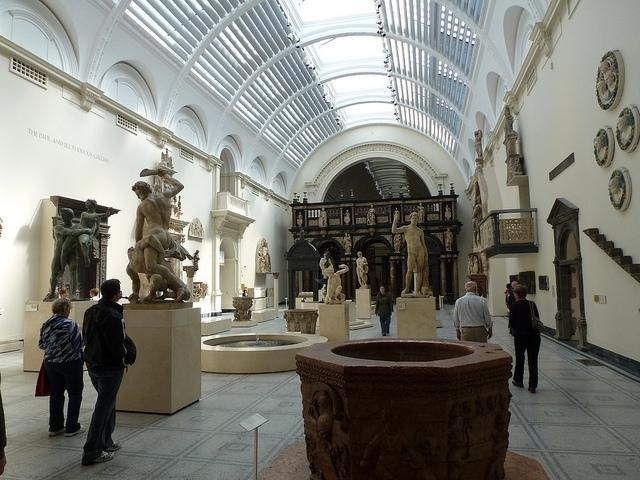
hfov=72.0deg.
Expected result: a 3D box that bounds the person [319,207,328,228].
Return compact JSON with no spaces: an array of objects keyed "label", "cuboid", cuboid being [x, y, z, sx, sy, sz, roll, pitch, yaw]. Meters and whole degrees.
[{"label":"person","cuboid":[0.170,-1.548,30.616,0.575,1.361,0.398,-1,-2,-1]}]

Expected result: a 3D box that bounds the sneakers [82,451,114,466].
[{"label":"sneakers","cuboid":[-2.726,2.665,5.359,0.311,0.162,0.119,4,-1,-29]}]

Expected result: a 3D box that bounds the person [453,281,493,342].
[{"label":"person","cuboid":[2.742,1.299,7.954,0.635,1.084,0.590,-1,-1,20]}]

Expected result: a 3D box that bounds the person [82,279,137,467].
[{"label":"person","cuboid":[-2.723,1.615,5.608,0.621,2.178,0.466,0,-2,-25]}]

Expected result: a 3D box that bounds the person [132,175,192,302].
[{"label":"person","cuboid":[-2.846,-0.078,7.533,0.942,2.601,0.801,-9,-20,-5]}]

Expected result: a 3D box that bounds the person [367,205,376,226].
[{"label":"person","cuboid":[3.476,-1.699,30.140,0.568,1.439,0.534,-1,-1,6]}]

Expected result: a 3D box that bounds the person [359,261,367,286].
[{"label":"person","cuboid":[2.040,1.579,21.671,0.413,1.372,1.285,-1,-1,2]}]

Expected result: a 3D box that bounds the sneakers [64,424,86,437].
[{"label":"sneakers","cuboid":[-3.438,2.649,6.149,0.097,0.137,0.294,3,1,12]}]

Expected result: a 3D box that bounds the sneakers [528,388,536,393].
[{"label":"sneakers","cuboid":[3.673,2.597,7.630,0.121,0.078,0.218,-1,0,24]}]

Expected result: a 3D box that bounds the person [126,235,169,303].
[{"label":"person","cuboid":[-2.924,0.513,7.389,0.643,1.017,0.682,-12,-7,25]}]

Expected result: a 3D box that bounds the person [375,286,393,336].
[{"label":"person","cuboid":[2.020,2.270,14.171,0.464,1.534,1.905,-1,-1,7]}]

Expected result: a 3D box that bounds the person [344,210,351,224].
[{"label":"person","cuboid":[1.842,-1.612,30.527,0.439,0.970,0.271,-1,-2,7]}]

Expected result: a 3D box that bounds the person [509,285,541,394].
[{"label":"person","cuboid":[3.657,1.732,7.854,0.506,1.830,0.568,-1,-2,28]}]

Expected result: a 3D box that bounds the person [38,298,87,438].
[{"label":"person","cuboid":[-3.634,1.773,6.134,0.509,1.842,0.546,0,-2,-35]}]

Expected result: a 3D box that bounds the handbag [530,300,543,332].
[{"label":"handbag","cuboid":[3.947,1.382,8.046,0.191,0.628,1.087,-1,-1,26]}]

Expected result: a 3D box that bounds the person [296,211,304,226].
[{"label":"person","cuboid":[-1.515,-1.481,31.051,0.491,0.931,0.145,-1,-2,22]}]

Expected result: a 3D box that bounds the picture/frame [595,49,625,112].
[{"label":"picture/frame","cuboid":[5.819,-3.201,8.827,0.185,1.149,0.826,-1,-1,11]}]

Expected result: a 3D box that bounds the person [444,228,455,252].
[{"label":"person","cuboid":[8.443,-0.010,28.914,0.593,1.558,0.399,-1,-2,21]}]
